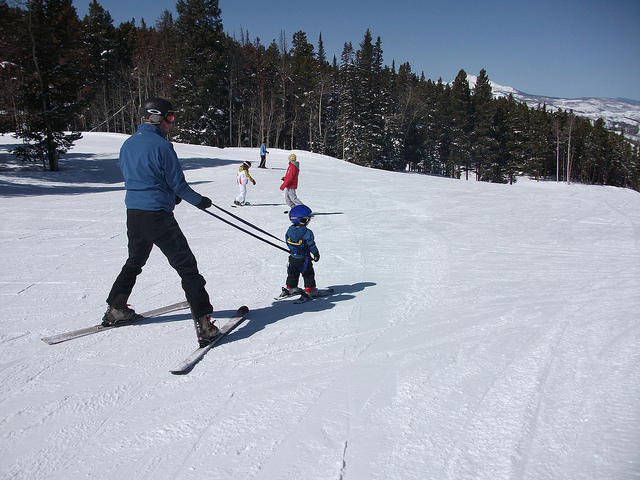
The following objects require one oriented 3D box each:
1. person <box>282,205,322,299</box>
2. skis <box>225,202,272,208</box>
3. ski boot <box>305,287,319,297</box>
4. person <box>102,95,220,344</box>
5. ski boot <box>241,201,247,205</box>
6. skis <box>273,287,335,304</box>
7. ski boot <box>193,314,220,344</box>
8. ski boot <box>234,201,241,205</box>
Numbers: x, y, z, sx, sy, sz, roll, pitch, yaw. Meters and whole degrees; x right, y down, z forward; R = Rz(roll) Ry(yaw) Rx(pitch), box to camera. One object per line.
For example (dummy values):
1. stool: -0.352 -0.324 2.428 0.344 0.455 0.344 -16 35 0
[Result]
1. person: -0.256 0.190 7.239 0.431 1.272 0.473 -5 15 -17
2. skis: -2.051 -0.982 14.971 0.938 0.105 0.226 2 13 -9
3. ski boot: -0.100 0.731 7.312 0.208 0.131 0.087 -8 16 -31
4. person: -1.793 -0.232 5.938 1.400 2.675 0.623 4 15 15
5. ski boot: -2.120 -1.043 15.007 0.078 0.076 0.304 3 13 12
6. skis: -0.256 0.770 7.338 0.420 0.108 0.294 -11 12 -38
7. ski boot: -1.283 0.985 6.018 0.165 0.371 0.425 -5 3 17
8. ski boot: -2.292 -1.035 14.848 0.199 0.056 0.134 4 1 26
